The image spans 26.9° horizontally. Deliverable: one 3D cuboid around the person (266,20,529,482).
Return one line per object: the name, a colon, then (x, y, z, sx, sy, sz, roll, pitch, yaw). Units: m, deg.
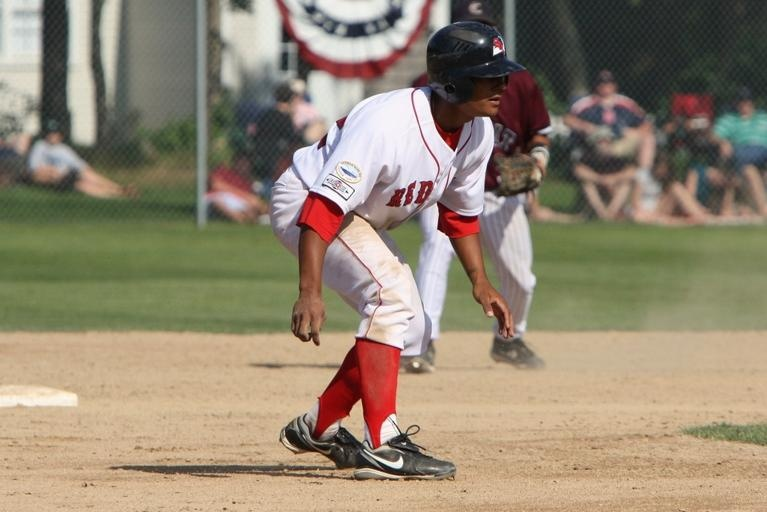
person: (0.068, -0.039, 10.330, 1.490, 2.846, 0.802, -3, 14, -12)

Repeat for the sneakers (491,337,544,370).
sneakers: (1.038, 0.754, 12.425, 0.300, 0.131, 0.232, 17, 5, 18)

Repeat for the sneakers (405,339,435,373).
sneakers: (0.311, 0.806, 12.411, 0.137, 0.288, 0.422, -2, -6, 19)

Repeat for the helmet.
helmet: (0.575, -1.246, 10.220, 0.555, 0.451, 0.458, 8, 14, 31)
